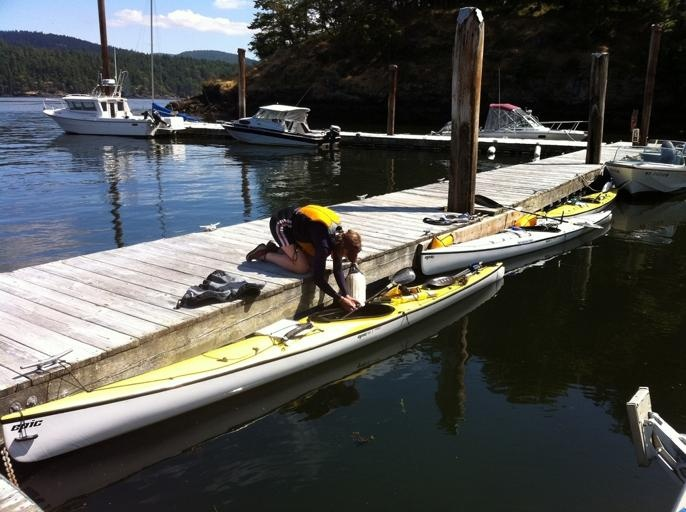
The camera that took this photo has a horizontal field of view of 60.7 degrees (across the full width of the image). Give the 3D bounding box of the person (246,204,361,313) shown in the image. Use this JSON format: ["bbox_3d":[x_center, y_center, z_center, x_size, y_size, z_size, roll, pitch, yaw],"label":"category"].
[{"bbox_3d":[-0.386,-0.087,7.038,0.733,0.868,1.705,1,16,-44],"label":"person"}]

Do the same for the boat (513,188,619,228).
[{"bbox_3d":[4.527,-0.985,12.098,2.902,0.329,0.527,-15,32,-26],"label":"boat"}]

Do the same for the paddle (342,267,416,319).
[{"bbox_3d":[0.587,0.454,7.499,0.452,0.390,1.199,6,15,33],"label":"paddle"}]

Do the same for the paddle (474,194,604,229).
[{"bbox_3d":[3.687,-0.838,11.242,2.621,0.273,0.462,-13,37,-25],"label":"paddle"}]

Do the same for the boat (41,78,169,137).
[{"bbox_3d":[-11.486,-7.087,28.227,7.108,2.092,2.051,8,24,16],"label":"boat"}]

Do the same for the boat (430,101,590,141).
[{"bbox_3d":[6.887,-5.374,24.529,6.636,1.392,1.544,9,14,33],"label":"boat"}]

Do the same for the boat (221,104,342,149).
[{"bbox_3d":[-2.773,-5.536,25.368,6.124,1.430,1.988,4,33,12],"label":"boat"}]

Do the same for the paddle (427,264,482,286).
[{"bbox_3d":[1.645,0.312,8.445,0.989,0.140,0.282,-12,19,-34],"label":"paddle"}]
